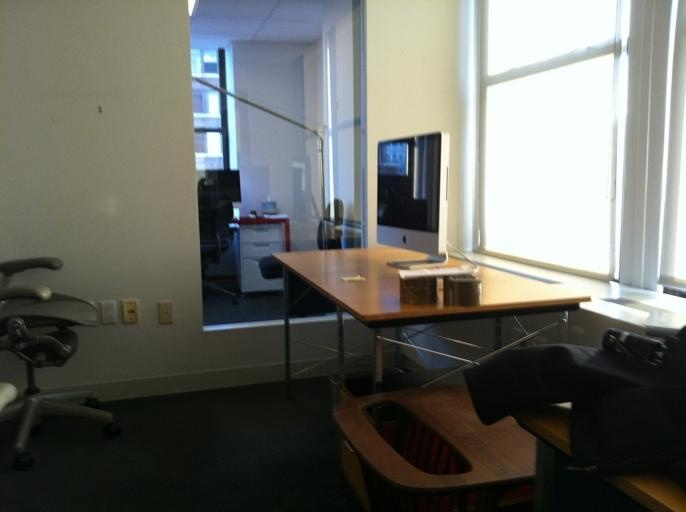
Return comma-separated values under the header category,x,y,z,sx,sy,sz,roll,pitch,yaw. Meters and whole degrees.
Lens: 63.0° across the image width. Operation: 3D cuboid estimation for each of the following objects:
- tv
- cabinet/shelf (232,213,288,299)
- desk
category,x,y,z,sx,sy,sz,roll,pitch,yaw
tv,0.392,-0.264,2.880,0.214,0.674,0.649,-5,10,-26
cabinet/shelf,-0.529,0.020,3.670,0.281,0.429,0.289,-2,-14,-9
desk,0.319,0.208,2.450,0.685,0.703,1.373,-4,10,-17
